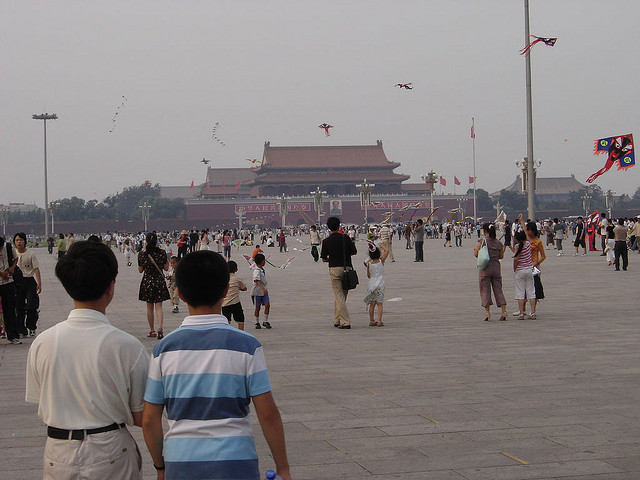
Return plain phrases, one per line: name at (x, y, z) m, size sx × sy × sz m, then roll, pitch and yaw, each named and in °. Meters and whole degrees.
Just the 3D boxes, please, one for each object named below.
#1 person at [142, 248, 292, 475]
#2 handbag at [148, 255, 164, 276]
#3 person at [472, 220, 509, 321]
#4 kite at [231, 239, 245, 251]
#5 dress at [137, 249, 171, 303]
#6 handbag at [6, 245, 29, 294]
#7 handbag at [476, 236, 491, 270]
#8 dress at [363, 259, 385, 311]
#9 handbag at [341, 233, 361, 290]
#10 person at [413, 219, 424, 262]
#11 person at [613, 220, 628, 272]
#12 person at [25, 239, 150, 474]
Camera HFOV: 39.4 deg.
person at (-0.505, 0.579, 4.231) m, size 0.682 × 1.058 × 0.293 m, roll -1°, pitch 0°, yaw -5°
handbag at (-1.861, 0.278, 10.160) m, size 0.019 × 0.056 × 0.376 m, roll 4°, pitch -42°, yaw 51°
person at (2.167, 0.371, 11.313) m, size 0.404 × 1.011 × 1.004 m, roll -1°, pitch 0°, yaw 12°
kite at (-2.227, 0.068, 23.749) m, size 0.388 × 0.203 × 0.498 m, roll -1°, pitch 2°, yaw 1°
dress at (-1.884, 0.392, 10.142) m, size 0.260 × 0.631 × 0.302 m, roll -1°, pitch 1°, yaw -32°
handbag at (-3.410, 0.359, 10.001) m, size 0.320 × 0.460 × 0.193 m, roll -3°, pitch 11°, yaw 38°
handbag at (2.023, 0.159, 11.060) m, size 0.161 × 0.327 × 0.287 m, roll -1°, pitch 0°, yaw 10°
dress at (0.651, 0.502, 10.865) m, size 0.224 × 0.418 × 0.267 m, roll -1°, pitch 0°, yaw -1°
handbag at (0.338, 0.249, 10.606) m, size 0.192 × 0.482 × 0.404 m, roll -1°, pitch 0°, yaw 3°
person at (2.661, -0.022, 24.550) m, size 0.359 × 1.160 × 0.360 m, roll -1°, pitch 6°, yaw -14°
person at (6.368, 0.082, 18.991) m, size 0.313 × 1.085 × 0.313 m, roll -3°, pitch 5°, yaw -7°
person at (-1.140, 0.571, 4.367) m, size 0.556 × 1.123 × 0.337 m, roll -1°, pitch 0°, yaw -20°
